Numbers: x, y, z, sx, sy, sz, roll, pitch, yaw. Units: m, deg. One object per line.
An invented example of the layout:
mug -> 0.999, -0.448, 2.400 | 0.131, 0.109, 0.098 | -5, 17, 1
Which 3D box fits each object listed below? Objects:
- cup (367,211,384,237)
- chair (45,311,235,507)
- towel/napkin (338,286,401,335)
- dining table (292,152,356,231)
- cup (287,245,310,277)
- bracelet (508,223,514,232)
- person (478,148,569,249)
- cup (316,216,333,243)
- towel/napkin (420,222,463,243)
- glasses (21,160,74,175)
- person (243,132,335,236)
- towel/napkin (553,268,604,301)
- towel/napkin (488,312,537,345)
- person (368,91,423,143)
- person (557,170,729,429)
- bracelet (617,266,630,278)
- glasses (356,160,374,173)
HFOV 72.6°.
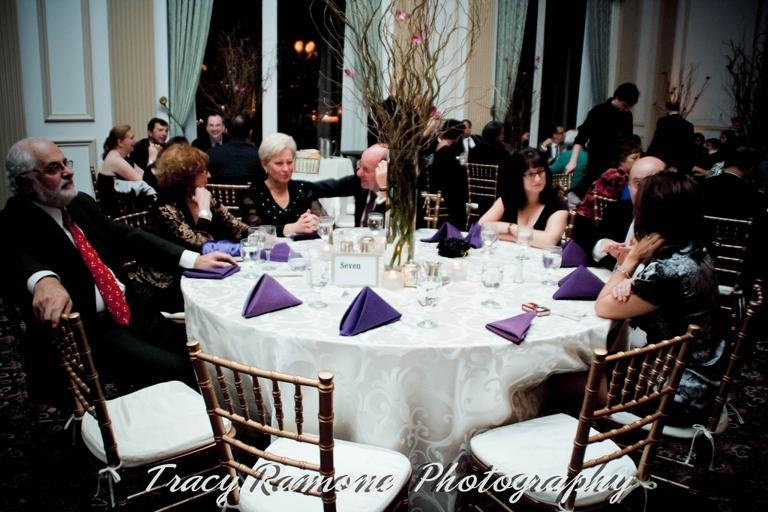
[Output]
cup -> -0.045, -0.198, 3.273 | 0.119, 0.152, 0.119 | 0, 14, 0
chair -> -1.122, 0.738, 2.427 | 0.496, 0.885, 0.536 | -16, 34, -35
towel/napkin -> -0.046, 0.210, 2.233 | 0.188, 0.107, 0.210 | 17, 29, 19
dining table -> -0.644, -0.701, 5.678 | 0.853, 0.903, 0.908 | 1, 4, 3
cup -> -0.443, 0.030, 2.792 | 0.145, 0.171, 0.164 | 1, 2, -2
bracelet -> 0.860, -0.190, 3.552 | 0.010, 0.049, 0.045 | 5, -8, -12
person -> 1.033, -0.227, 3.770 | 0.574, 1.049, 0.551 | 8, 18, 34
cup -> -0.347, -0.163, 3.192 | 0.125, 0.221, 0.133 | 0, 7, 0
towel/napkin -> 0.387, -0.162, 3.660 | 0.261, 0.172, 0.381 | -5, 2, 7
glasses -> -1.737, -0.463, 2.721 | 0.085, 0.081, 0.202 | 9, 17, 38
person -> -0.716, -0.445, 3.800 | 0.566, 0.868, 0.721 | -7, 18, -35
towel/napkin -> 0.999, 0.124, 2.681 | 0.243, 0.133, 0.359 | -2, 13, 29
towel/napkin -> 0.592, 0.305, 2.280 | 0.217, 0.057, 0.169 | -25, 22, -26
person -> 0.032, -0.761, 2.896 | 0.251, 0.247, 0.772 | -2, 14, -2
person -> 1.369, 0.335, 2.753 | 0.728, 1.530, 0.651 | 1, 16, 34
bracelet -> 1.165, 0.084, 2.560 | 0.037, 0.019, 0.047 | 9, 23, -4
glasses -> -0.134, -0.608, 3.619 | 0.050, 0.095, 0.221 | -13, 18, -40
